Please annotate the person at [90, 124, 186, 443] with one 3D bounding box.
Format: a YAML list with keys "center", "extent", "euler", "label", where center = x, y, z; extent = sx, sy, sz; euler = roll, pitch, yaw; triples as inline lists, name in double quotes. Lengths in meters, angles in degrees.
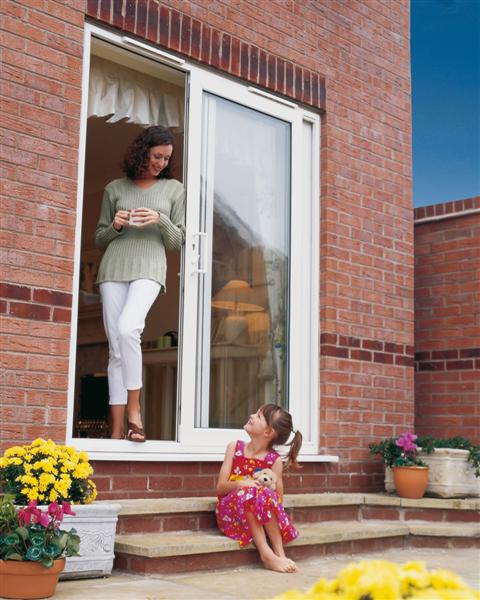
- center: [-0.543, -0.116, 3.476]
  extent: [0.489, 1.714, 0.379]
  euler: [0, -8, -7]
  label: "person"

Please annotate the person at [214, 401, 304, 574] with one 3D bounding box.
- center: [0.076, 0.861, 3.035]
  extent: [0.384, 0.715, 0.385]
  euler: [-1, -7, -3]
  label: "person"

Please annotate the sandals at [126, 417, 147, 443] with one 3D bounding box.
- center: [-0.542, 0.679, 3.333]
  extent: [0.093, 0.112, 0.099]
  euler: [0, -7, -10]
  label: "sandals"

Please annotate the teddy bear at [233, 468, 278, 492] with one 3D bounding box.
- center: [0.079, 0.854, 3.058]
  extent: [0.169, 0.105, 0.171]
  euler: [-3, -7, 19]
  label: "teddy bear"

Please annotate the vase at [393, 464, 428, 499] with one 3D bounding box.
- center: [1.101, 1.171, 4.174]
  extent: [0.225, 0.155, 0.224]
  euler: [-6, -11, 27]
  label: "vase"

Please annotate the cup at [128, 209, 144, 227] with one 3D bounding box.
- center: [-0.533, -0.426, 3.308]
  extent: [0.084, 0.082, 0.093]
  euler: [1, -16, -2]
  label: "cup"

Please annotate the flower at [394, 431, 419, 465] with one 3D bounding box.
- center: [1.148, 0.988, 4.322]
  extent: [0.141, 0.207, 0.296]
  euler: [-7, -9, 37]
  label: "flower"

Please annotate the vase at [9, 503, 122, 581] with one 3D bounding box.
- center: [-0.571, 1.001, 2.618]
  extent: [0.365, 0.295, 0.283]
  euler: [-11, -35, 18]
  label: "vase"
